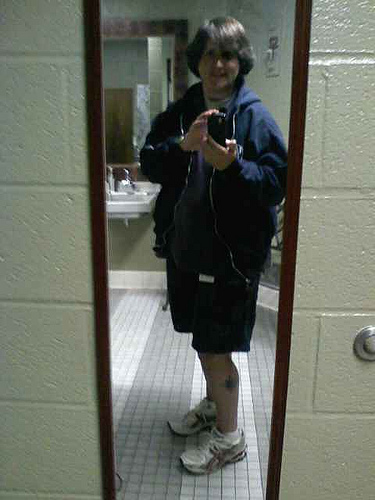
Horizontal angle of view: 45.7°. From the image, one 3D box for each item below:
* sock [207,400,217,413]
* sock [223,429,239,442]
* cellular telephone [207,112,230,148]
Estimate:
[{"bbox_3d":[0.061,0.394,1.124,0.024,0.036,0.017,14,18,39],"label":"sock"},{"bbox_3d":[0.112,0.465,1.114,0.025,0.029,0.021,-2,12,0],"label":"sock"},{"bbox_3d":[0.067,-0.259,0.948,0.054,0.114,0.014,9,32,18],"label":"cellular telephone"}]
